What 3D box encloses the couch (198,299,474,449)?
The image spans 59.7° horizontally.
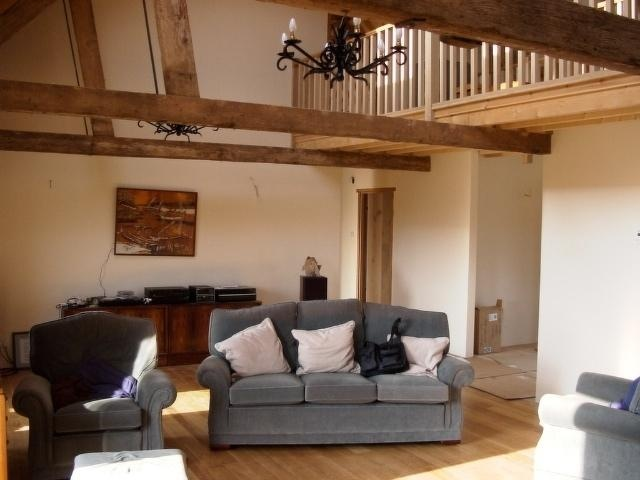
[{"bbox_3d":[0.134,1.367,5.853,2.671,1.309,1.226,0,-1,-4],"label":"couch"}]

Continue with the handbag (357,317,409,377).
[{"bbox_3d":[0.633,1.115,5.694,0.499,0.563,0.443,-1,-20,4],"label":"handbag"}]

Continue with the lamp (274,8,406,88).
[{"bbox_3d":[0.227,-1.887,5.649,1.275,0.715,1.320,4,8,22],"label":"lamp"}]

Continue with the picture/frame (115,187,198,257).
[{"bbox_3d":[-2.593,-0.295,8.623,1.048,0.941,0.072,1,6,-27],"label":"picture/frame"}]
